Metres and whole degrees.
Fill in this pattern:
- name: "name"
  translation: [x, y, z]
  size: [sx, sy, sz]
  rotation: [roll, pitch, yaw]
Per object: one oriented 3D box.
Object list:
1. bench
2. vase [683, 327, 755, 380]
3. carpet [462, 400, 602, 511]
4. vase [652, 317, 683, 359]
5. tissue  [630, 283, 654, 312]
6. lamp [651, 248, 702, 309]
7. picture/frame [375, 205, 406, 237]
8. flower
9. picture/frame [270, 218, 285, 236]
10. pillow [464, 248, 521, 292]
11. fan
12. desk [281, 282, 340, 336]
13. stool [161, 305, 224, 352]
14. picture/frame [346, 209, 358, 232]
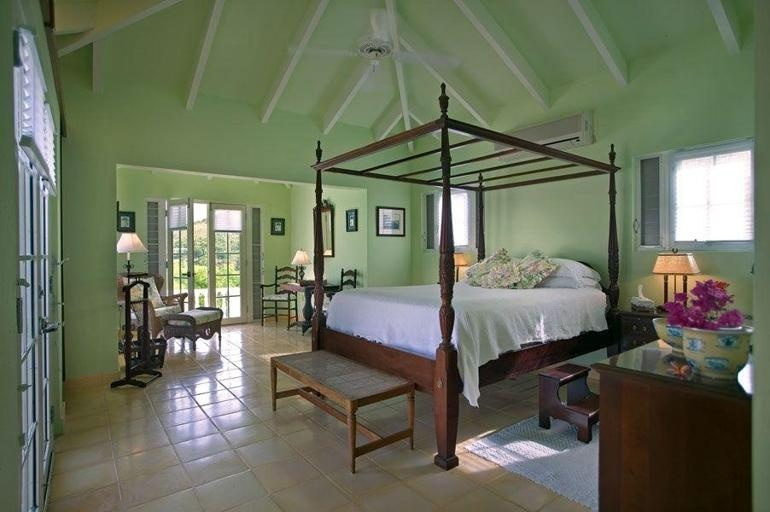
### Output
- name: "bench"
  translation: [-0.390, 1.316, 4.925]
  size: [0.735, 0.600, 1.409]
  rotation: [-11, 17, -39]
- name: "vase"
  translation: [1.917, 0.542, 3.047]
  size: [0.300, 0.231, 0.299]
  rotation: [-1, 1, -33]
- name: "carpet"
  translation: [1.418, 1.681, 4.634]
  size: [1.150, 0.089, 1.023]
  rotation: [11, 17, 39]
- name: "vase"
  translation: [1.823, 0.525, 3.371]
  size: [0.209, 0.164, 0.206]
  rotation: [-1, 1, -40]
- name: "tissue "
  translation: [2.745, 0.493, 5.800]
  size: [0.192, 0.310, 0.320]
  rotation: [0, -4, -9]
- name: "lamp"
  translation: [3.061, 0.233, 5.561]
  size: [0.417, 0.583, 0.412]
  rotation: [2, 10, 42]
- name: "picture/frame"
  translation: [0.047, -0.549, 8.315]
  size: [0.503, 0.357, 0.019]
  rotation: [1, -3, -41]
- name: "flower"
  translation: [1.935, 0.350, 3.217]
  size: [0.369, 0.320, 0.369]
  rotation: [6, -27, -17]
- name: "picture/frame"
  translation: [-2.047, -0.541, 9.906]
  size: [0.023, 0.330, 0.329]
  rotation: [-3, -4, 43]
- name: "pillow"
  translation: [1.337, 0.187, 6.250]
  size: [0.497, 0.151, 0.450]
  rotation: [-21, 28, -14]
- name: "fan"
  translation: [-0.074, -2.608, 6.417]
  size: [1.909, 0.615, 0.842]
  rotation: [1, 13, 3]
- name: "desk"
  translation: [-1.257, 0.795, 8.715]
  size: [0.886, 0.692, 0.969]
  rotation: [-6, 18, -40]
- name: "stool"
  translation: [-2.700, 1.049, 7.496]
  size: [0.504, 0.612, 0.864]
  rotation: [9, 16, 36]
- name: "picture/frame"
  translation: [-0.538, -0.566, 8.394]
  size: [0.046, 0.340, 0.351]
  rotation: [2, -5, -26]
